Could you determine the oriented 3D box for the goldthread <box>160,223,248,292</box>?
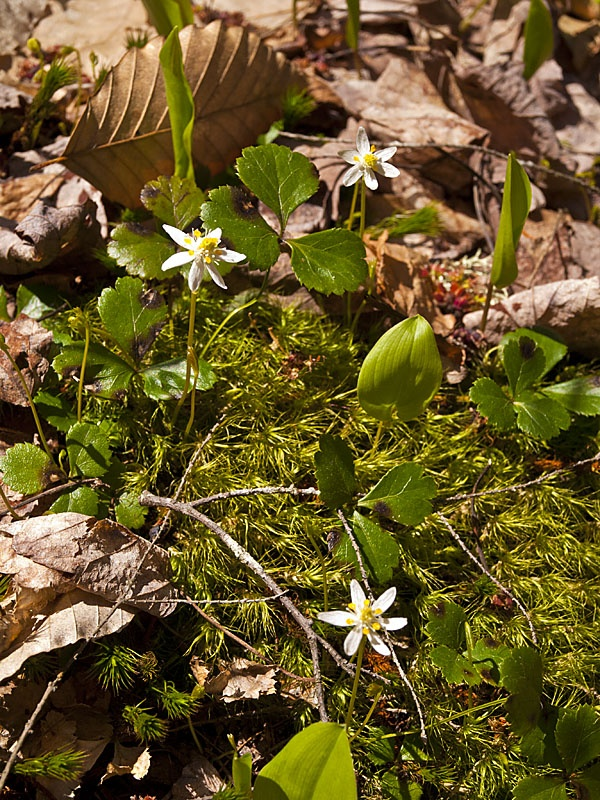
[{"bbox_3d":[-0.250,-0.354,1.871,0.238,0.090,0.213,4,65,-9],"label":"goldthread"}]

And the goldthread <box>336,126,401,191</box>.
[{"bbox_3d":[0.208,-0.739,2.169,0.168,0.148,0.063,31,77,-21],"label":"goldthread"}]
